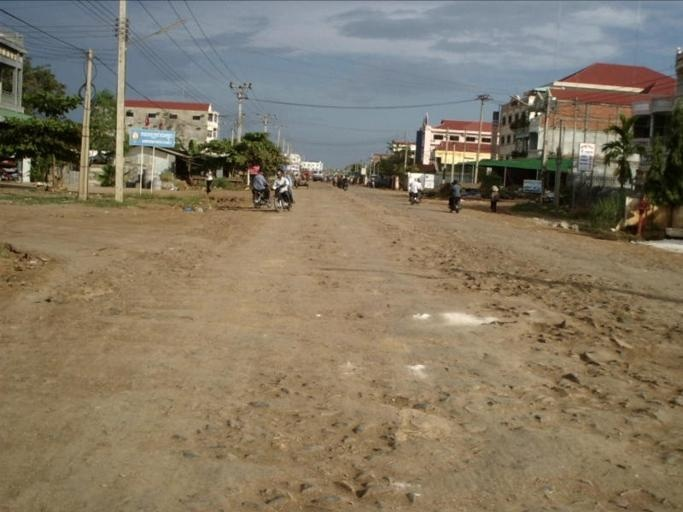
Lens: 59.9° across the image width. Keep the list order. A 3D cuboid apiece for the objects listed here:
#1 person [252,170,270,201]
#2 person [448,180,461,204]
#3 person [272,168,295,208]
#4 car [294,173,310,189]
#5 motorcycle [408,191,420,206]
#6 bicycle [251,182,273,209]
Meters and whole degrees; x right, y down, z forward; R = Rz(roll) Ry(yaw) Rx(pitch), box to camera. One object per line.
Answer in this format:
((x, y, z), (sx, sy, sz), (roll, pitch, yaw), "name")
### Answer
((-3.822, -3.243, 28.318), (0.741, 1.359, 1.458), (1, 12, -9), "person")
((6.101, -3.309, 31.962), (0.554, 1.272, 2.274), (5, 12, 10), "person")
((-2.679, -2.871, 26.995), (0.810, 1.106, 1.770), (-1, 0, 2), "person")
((-5.073, -9.906, 75.329), (2.263, 2.157, 4.152), (0, 2, -2), "car")
((4.730, -3.735, 38.565), (0.658, 0.875, 0.911), (4, 12, 6), "motorcycle")
((-3.960, -2.818, 28.964), (0.677, 0.932, 1.501), (3, 13, 9), "bicycle")
